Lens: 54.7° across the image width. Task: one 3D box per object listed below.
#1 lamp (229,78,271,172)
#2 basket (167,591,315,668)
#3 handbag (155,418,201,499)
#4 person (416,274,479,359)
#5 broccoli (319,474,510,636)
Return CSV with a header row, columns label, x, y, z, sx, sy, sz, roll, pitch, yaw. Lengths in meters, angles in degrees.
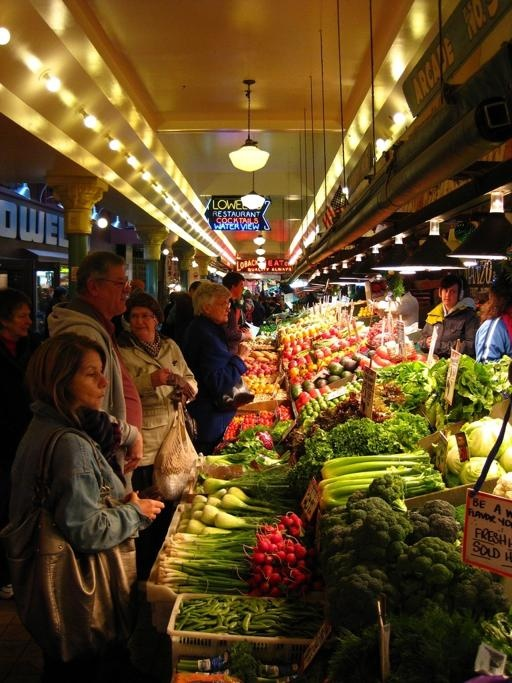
label,x,y,z,sx,sy,sz,roll,pitch,yaw
lamp,-0.091,-2.945,6.767,0.512,1.160,0.523,8,14,37
basket,-0.038,0.955,1.692,0.492,0.096,0.318,3,4,8
handbag,-0.431,0.707,2.996,0.267,0.418,0.286,3,10,2
person,2.391,-0.286,5.859,0.485,0.975,0.667,1,10,23
broccoli,0.411,0.635,1.431,0.447,0.269,0.631,-5,9,-16
